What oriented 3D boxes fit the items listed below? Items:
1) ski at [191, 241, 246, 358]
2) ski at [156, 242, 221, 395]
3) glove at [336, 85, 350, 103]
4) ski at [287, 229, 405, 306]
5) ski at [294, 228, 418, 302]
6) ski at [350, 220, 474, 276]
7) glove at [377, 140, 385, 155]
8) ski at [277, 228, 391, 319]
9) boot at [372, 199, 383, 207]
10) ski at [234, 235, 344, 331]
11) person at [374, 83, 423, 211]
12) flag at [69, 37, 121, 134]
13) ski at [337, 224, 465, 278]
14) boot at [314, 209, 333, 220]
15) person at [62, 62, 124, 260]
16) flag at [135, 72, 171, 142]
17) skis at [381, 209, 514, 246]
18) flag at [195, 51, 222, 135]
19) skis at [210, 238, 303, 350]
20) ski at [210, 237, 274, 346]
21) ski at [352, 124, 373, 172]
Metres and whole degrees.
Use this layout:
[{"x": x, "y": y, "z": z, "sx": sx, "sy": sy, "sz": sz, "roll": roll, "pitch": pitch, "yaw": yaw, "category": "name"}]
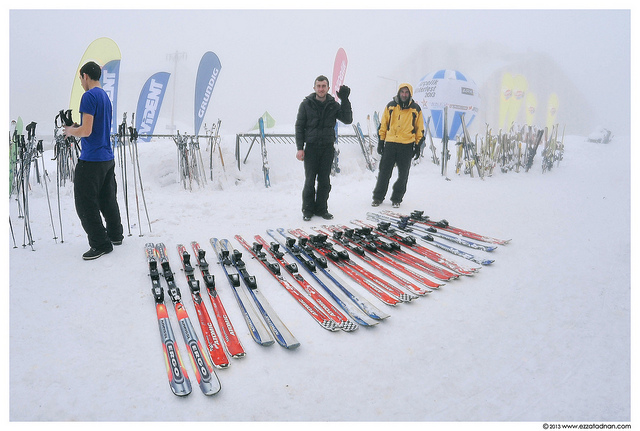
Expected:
[{"x": -1.040, "y": 0.888, "z": 4.515, "sx": 0.124, "sy": 0.147, "sz": 1.654, "roll": -2, "pitch": 28, "yaw": -25, "category": "ski"}, {"x": -1.282, "y": 1.035, "z": 4.292, "sx": 0.198, "sy": 0.151, "sz": 1.822, "roll": -6, "pitch": 33, "yaw": -24, "category": "ski"}, {"x": 0.336, "y": -1.759, "z": 6.442, "sx": 0.189, "sy": 0.237, "sz": 0.153, "roll": 6, "pitch": 12, "yaw": 20, "category": "glove"}, {"x": 0.077, "y": 0.453, "z": 5.613, "sx": 0.270, "sy": 0.168, "sz": 3.111, "roll": -10, "pitch": 17, "yaw": -24, "category": "ski"}, {"x": 0.416, "y": 0.598, "z": 5.113, "sx": 0.227, "sy": 0.095, "sz": 1.928, "roll": -8, "pitch": 18, "yaw": -22, "category": "ski"}, {"x": 1.141, "y": 0.430, "z": 5.507, "sx": 0.171, "sy": 0.077, "sz": 1.637, "roll": -19, "pitch": 24, "yaw": -23, "category": "ski"}, {"x": 0.995, "y": -1.105, "z": 7.184, "sx": 0.065, "sy": 0.232, "sz": 0.168, "roll": -5, "pitch": 13, "yaw": -32, "category": "glove"}, {"x": 0.166, "y": 0.657, "z": 4.717, "sx": 0.196, "sy": 1.752, "sz": 0.149, "roll": -38, "pitch": 31, "yaw": 10, "category": "ski"}, {"x": 0.937, "y": -0.209, "z": 7.264, "sx": 0.167, "sy": 0.111, "sz": 0.074, "roll": -1, "pitch": 11, "yaw": -16, "category": "boot"}, {"x": -0.330, "y": 0.760, "z": 4.791, "sx": 0.126, "sy": 0.135, "sz": 1.589, "roll": -1, "pitch": 28, "yaw": -38, "category": "ski"}, {"x": 1.260, "y": -1.097, "z": 7.063, "sx": 0.709, "sy": 1.951, "sz": 0.423, "roll": 4, "pitch": 11, "yaw": 13, "category": "person"}, {"x": -4.023, "y": -2.430, "z": 8.335, "sx": 0.488, "sy": 2.195, "sz": 0.059, "roll": -5, "pitch": -17, "yaw": -20, "category": "flag"}, {"x": 0.983, "y": 0.458, "z": 5.436, "sx": 0.145, "sy": 0.093, "sz": 1.290, "roll": 2, "pitch": 19, "yaw": -33, "category": "ski"}, {"x": 0.058, "y": -0.013, "z": 6.712, "sx": 0.262, "sy": 0.115, "sz": 0.105, "roll": 8, "pitch": 13, "yaw": 35, "category": "boot"}, {"x": -2.626, "y": -0.638, "z": 5.207, "sx": 0.365, "sy": 2.246, "sz": 0.555, "roll": 10, "pitch": 13, "yaw": 37, "category": "person"}, {"x": -4.162, "y": -2.596, "z": 10.722, "sx": 0.643, "sy": 0.442, "sz": 2.570, "roll": -17, "pitch": -22, "yaw": -40, "category": "flag"}, {"x": 1.781, "y": 0.182, "z": 6.125, "sx": 1.404, "sy": 0.115, "sz": 0.150, "roll": 15, "pitch": 49, "yaw": 35, "category": "skis"}, {"x": -2.730, "y": -3.010, "z": 10.591, "sx": 0.488, "sy": 2.163, "sz": 0.110, "roll": 17, "pitch": 14, "yaw": -5, "category": "flag"}, {"x": -0.695, "y": 0.686, "z": 4.584, "sx": 0.167, "sy": 0.130, "sz": 1.620, "roll": -20, "pitch": 58, "yaw": -28, "category": "skis"}, {"x": -0.819, "y": 0.827, "z": 4.647, "sx": 0.128, "sy": 0.126, "sz": 1.534, "roll": -3, "pitch": 30, "yaw": -29, "category": "ski"}, {"x": 1.008, "y": -1.599, "z": 10.748, "sx": 0.154, "sy": 1.522, "sz": 0.209, "roll": -24, "pitch": -7, "yaw": 0, "category": "ski"}]
